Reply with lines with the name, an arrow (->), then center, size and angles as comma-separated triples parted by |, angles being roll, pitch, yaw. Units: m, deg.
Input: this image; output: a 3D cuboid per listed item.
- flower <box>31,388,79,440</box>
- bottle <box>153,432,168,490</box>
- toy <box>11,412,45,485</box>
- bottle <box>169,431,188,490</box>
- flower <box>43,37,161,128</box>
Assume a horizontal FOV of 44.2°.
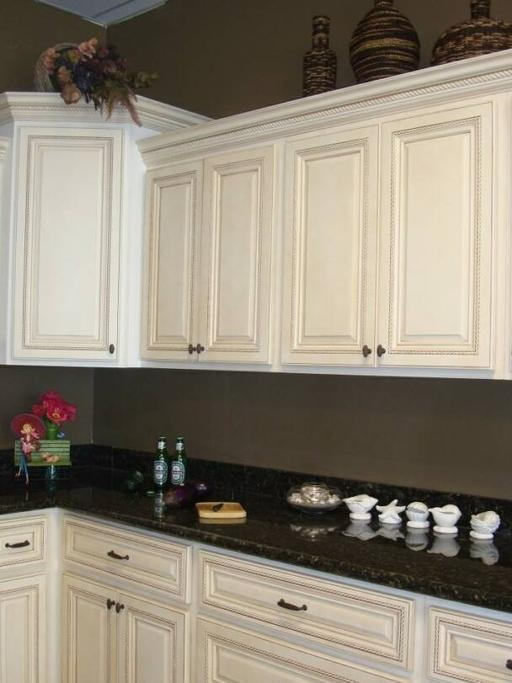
flower -> -0.956, 0.363, 2.948 | 0.216, 0.212, 0.213 | 12, 3, -7
bottle -> -0.387, 0.495, 2.599 | 0.061, 0.190, 0.154 | -3, -1, -9
toy -> -1.017, 0.484, 2.799 | 0.151, 0.268, 0.148 | -16, -19, 39
bottle -> -0.310, 0.487, 2.523 | 0.069, 0.177, 0.237 | -3, -1, -8
flower -> -0.603, -1.024, 2.495 | 0.455, 0.132, 0.287 | -5, 2, -5
